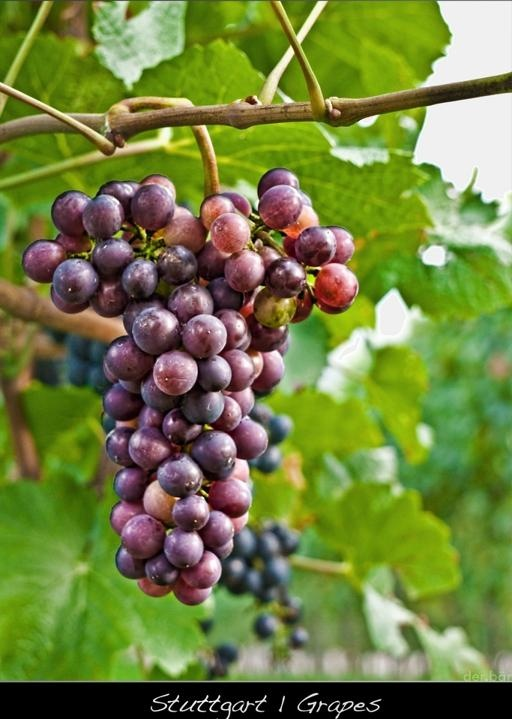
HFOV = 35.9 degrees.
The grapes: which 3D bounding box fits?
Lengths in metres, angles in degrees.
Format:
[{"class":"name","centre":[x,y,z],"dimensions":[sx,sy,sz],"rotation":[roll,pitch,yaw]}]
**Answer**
[{"class":"grapes","centre":[-0.038,0.137,0.838],"dimensions":[0.318,0.688,0.283],"rotation":[-14,45,-30]}]
